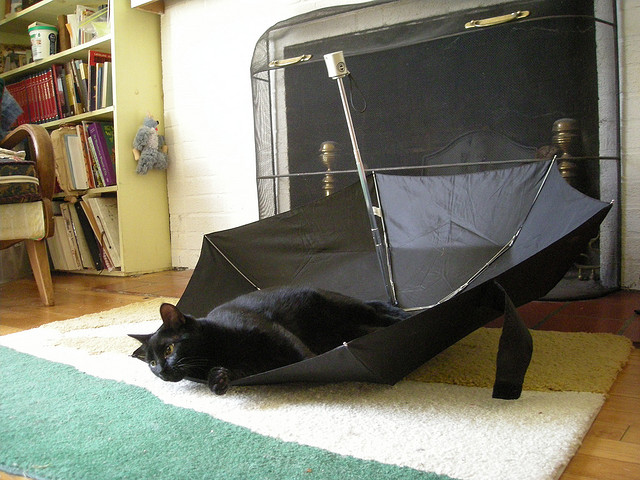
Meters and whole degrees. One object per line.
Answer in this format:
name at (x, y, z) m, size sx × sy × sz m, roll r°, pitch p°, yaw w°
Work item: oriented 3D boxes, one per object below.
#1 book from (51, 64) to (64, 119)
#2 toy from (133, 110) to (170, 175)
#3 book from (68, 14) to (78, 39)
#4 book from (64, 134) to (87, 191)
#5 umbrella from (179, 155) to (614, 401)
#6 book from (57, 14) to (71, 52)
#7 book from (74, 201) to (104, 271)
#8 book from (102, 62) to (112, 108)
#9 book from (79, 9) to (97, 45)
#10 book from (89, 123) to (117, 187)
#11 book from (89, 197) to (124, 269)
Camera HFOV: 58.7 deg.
book at (-1.577, -0.917, 3.397) m, size 0.063 × 0.252 × 0.239 m, roll -10°, pitch 48°, yaw -16°
toy at (-0.956, -0.560, 3.238) m, size 0.132 × 0.354 × 0.271 m, roll 1°, pitch 13°, yaw 10°
book at (-1.454, -1.267, 3.361) m, size 0.036 × 0.137 × 0.097 m, roll -11°, pitch 16°, yaw -33°
book at (-1.397, -0.436, 3.234) m, size 0.066 × 0.252 × 0.255 m, roll -4°, pitch 5°, yaw -13°
umbrella at (0.256, 0.139, 1.601) m, size 0.890 × 0.342 × 0.843 m, roll -26°, pitch 20°, yaw 3°
book at (-1.567, -1.258, 3.486) m, size 0.085 × 0.239 × 0.046 m, roll -5°, pitch 24°, yaw -19°
book at (-1.330, -0.025, 3.263) m, size 0.073 × 0.377 × 0.255 m, roll -10°, pitch 16°, yaw -31°
book at (-1.204, -0.873, 3.197) m, size 0.070 × 0.245 × 0.057 m, roll -6°, pitch 15°, yaw -18°
book at (-1.318, -1.240, 3.288) m, size 0.168 × 0.207 × 0.026 m, roll 5°, pitch 9°, yaw 32°
book at (-1.247, -0.495, 3.278) m, size 0.126 × 0.351 × 0.206 m, roll -6°, pitch 14°, yaw -18°
book at (-1.214, -0.040, 3.223) m, size 0.147 × 0.385 × 0.281 m, roll -7°, pitch 14°, yaw -19°
